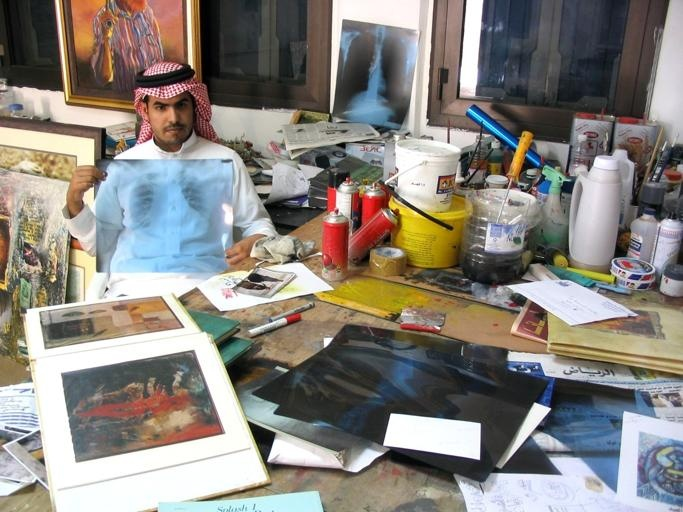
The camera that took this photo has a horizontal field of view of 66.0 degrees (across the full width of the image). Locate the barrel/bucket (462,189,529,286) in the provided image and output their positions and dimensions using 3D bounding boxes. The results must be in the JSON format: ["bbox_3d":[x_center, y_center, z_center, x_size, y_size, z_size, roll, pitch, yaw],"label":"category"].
[{"bbox_3d":[0.471,-0.054,1.618,0.214,0.274,0.191,-11,20,-43],"label":"barrel/bucket"}]

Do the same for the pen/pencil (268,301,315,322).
[{"bbox_3d":[-0.133,0.150,1.406,0.091,0.014,0.014,-19,3,-20],"label":"pen/pencil"}]

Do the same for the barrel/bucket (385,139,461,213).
[{"bbox_3d":[0.262,-0.261,1.777,0.242,0.212,0.242,3,30,-2],"label":"barrel/bucket"}]

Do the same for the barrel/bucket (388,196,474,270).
[{"bbox_3d":[0.267,-0.069,1.758,0.274,0.173,0.249,7,6,-1],"label":"barrel/bucket"}]
